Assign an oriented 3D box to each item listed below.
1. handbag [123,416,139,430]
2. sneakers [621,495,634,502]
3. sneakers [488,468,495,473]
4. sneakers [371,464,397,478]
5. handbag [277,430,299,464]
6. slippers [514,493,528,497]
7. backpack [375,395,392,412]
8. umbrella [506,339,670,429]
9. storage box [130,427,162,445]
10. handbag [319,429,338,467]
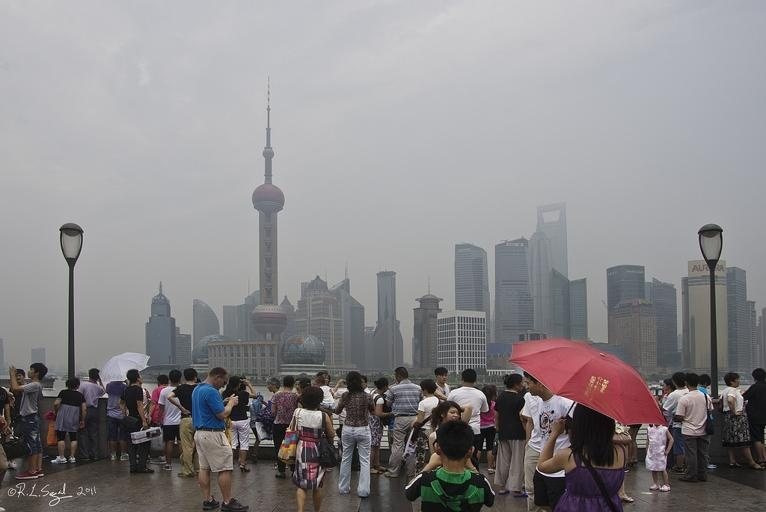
[{"bbox_3d":[-5.846,3.910,23.307,0.421,0.254,0.291,3,2,0],"label":"handbag"},{"bbox_3d":[5.012,5.062,20.693,0.215,0.110,0.422,-5,-8,33],"label":"sneakers"},{"bbox_3d":[2.446,4.980,23.035,0.077,0.135,0.212,3,5,15],"label":"sneakers"},{"bbox_3d":[-0.021,4.974,22.807,0.680,0.245,0.207,-6,-7,31],"label":"sneakers"},{"bbox_3d":[-1.785,3.546,18.456,0.186,0.601,0.427,6,-10,-43],"label":"handbag"},{"bbox_3d":[2.825,5.044,20.909,0.234,0.090,0.089,-3,-7,16],"label":"slippers"},{"bbox_3d":[-0.081,3.377,22.502,0.451,0.504,0.288,3,-15,-12],"label":"backpack"},{"bbox_3d":[3.149,1.967,15.647,2.168,1.350,1.099,-3,-8,20],"label":"umbrella"},{"bbox_3d":[-5.441,4.180,23.017,0.335,0.195,0.520,-4,-2,28],"label":"storage box"},{"bbox_3d":[-1.039,3.570,18.394,0.390,0.729,0.650,-6,-23,-7],"label":"handbag"}]
